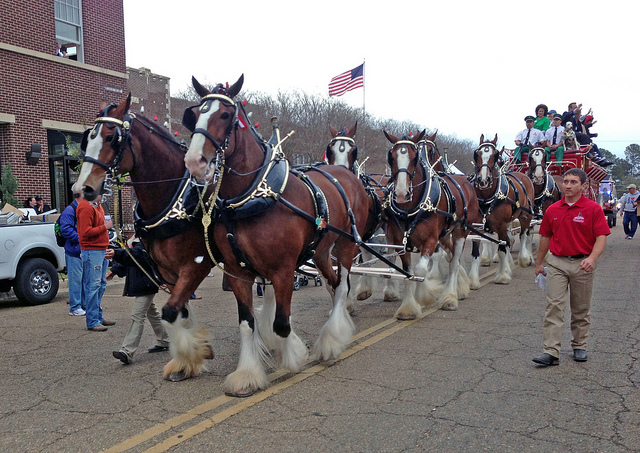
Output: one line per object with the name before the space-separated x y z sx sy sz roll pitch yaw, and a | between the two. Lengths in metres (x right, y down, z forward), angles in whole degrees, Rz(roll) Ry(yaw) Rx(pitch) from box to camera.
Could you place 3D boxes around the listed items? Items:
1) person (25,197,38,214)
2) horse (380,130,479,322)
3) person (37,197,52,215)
person | -8.980 -0.672 17.060 0.321 0.464 0.824 -7 11 -30
horse | 1.885 -0.105 9.663 1.299 3.134 2.532 2 10 21
person | -8.810 -0.708 17.457 0.300 0.430 1.041 -6 10 -24
